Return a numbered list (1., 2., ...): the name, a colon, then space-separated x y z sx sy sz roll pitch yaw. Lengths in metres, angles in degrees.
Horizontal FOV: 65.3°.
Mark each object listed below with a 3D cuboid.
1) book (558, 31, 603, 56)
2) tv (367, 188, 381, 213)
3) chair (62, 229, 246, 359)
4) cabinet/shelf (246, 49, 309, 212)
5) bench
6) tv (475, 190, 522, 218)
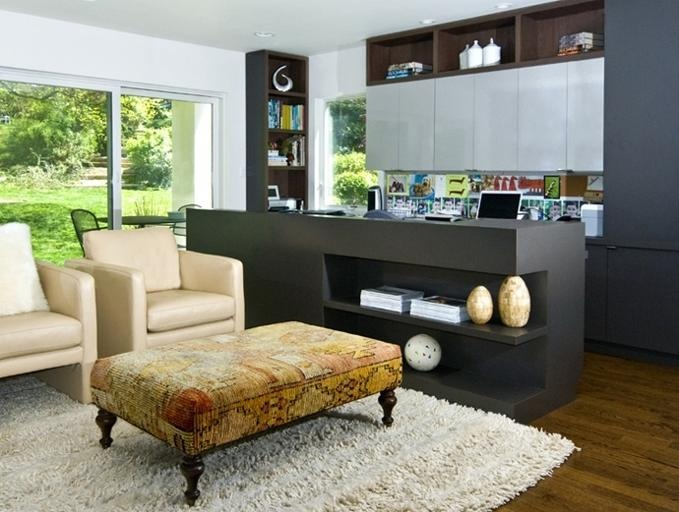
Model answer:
1. book: 2.196 -1.847 4.832 0.289 0.187 0.295 8 13 42
2. tv: 0.419 -0.692 6.358 0.164 0.263 0.128 1 10 3
3. chair: -1.361 0.263 3.928 1.009 0.990 0.982 -1 0 43
4. cabinet/shelf: -0.832 -1.640 7.064 0.857 2.030 0.589 -7 12 -38
5. bench: -0.462 0.724 2.755 1.392 0.511 0.806 -6 12 -36
6. tv: 1.607 -0.513 5.366 0.398 0.400 0.322 8 2 42
